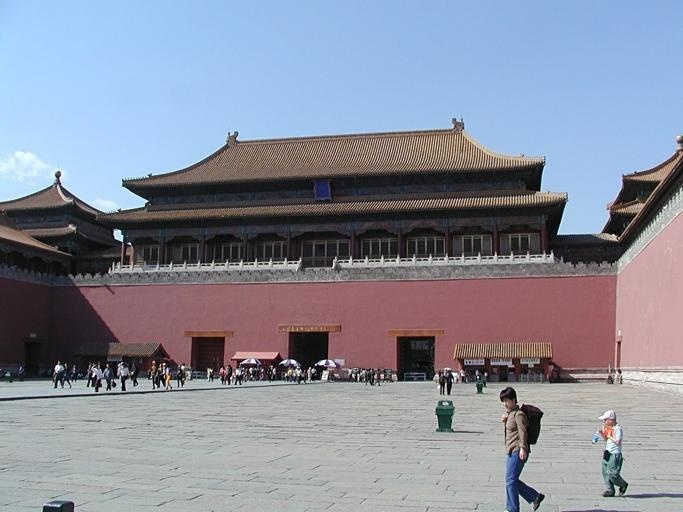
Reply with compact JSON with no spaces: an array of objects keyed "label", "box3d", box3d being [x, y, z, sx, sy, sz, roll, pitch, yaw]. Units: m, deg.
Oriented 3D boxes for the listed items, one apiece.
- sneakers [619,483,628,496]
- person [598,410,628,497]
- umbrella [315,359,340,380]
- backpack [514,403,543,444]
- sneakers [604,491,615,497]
[{"label":"sneakers","box3d":[4.718,3.886,13.591,0.119,0.218,0.410,-3,-14,19]},{"label":"person","box3d":[4.596,3.331,13.751,0.442,1.402,0.424,-2,-13,18]},{"label":"umbrella","box3d":[-0.672,5.535,40.367,1.046,0.787,1.040,9,-13,-36]},{"label":"backpack","box3d":[3.016,2.646,13.062,0.540,0.635,0.401,1,-1,1]},{"label":"sneakers","box3d":[4.439,3.934,13.485,0.194,0.092,0.075,5,-8,3]}]
